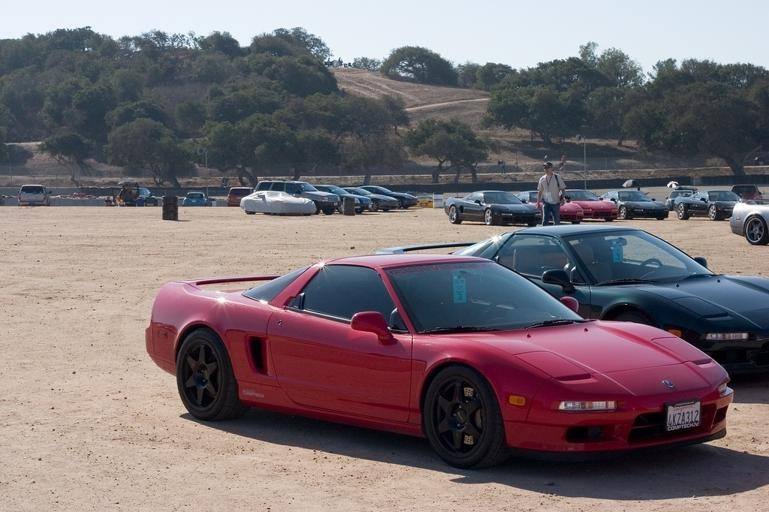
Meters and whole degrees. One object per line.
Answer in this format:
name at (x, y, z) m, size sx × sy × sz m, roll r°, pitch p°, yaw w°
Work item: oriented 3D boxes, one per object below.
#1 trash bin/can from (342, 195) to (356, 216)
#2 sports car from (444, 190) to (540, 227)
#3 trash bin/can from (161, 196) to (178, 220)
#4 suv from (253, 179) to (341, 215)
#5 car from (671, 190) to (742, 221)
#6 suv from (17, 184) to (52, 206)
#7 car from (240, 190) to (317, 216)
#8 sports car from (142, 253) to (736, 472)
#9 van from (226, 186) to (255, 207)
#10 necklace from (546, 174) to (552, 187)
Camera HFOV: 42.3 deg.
trash bin/can at (-1.652, -2.324, 46.034) m, size 0.480 × 0.738 × 0.954 m, roll 1°, pitch 8°, yaw -9°
sports car at (4.052, -1.707, 36.231) m, size 1.610 × 1.287 × 3.757 m, roll -3°, pitch 9°, yaw -30°
trash bin/can at (-8.672, -1.971, 40.068) m, size 0.565 × 0.921 × 0.581 m, roll -1°, pitch 8°, yaw -18°
suv at (-3.829, -2.759, 46.136) m, size 4.206 × 1.544 × 1.693 m, roll 1°, pitch 1°, yaw 33°
car at (13.127, -2.063, 40.323) m, size 2.193 × 1.202 × 2.992 m, roll 2°, pitch 8°, yaw 5°
suv at (-22.153, -3.928, 62.676) m, size 1.457 × 0.893 × 2.577 m, roll 0°, pitch 8°, yaw -15°
car at (-4.940, -2.384, 44.823) m, size 3.258 × 1.111 × 1.496 m, roll 8°, pitch 10°, yaw 41°
sports car at (0.459, 0.960, 11.035) m, size 6.219 × 1.630 × 3.303 m, roll 2°, pitch 3°, yaw 40°
van at (-10.192, -4.130, 67.435) m, size 1.860 × 1.445 × 3.161 m, roll 0°, pitch 3°, yaw -5°
necklace at (3.950, -1.850, 23.819) m, size 0.186 × 0.223 × 0.216 m, roll -2°, pitch -11°, yaw -12°
